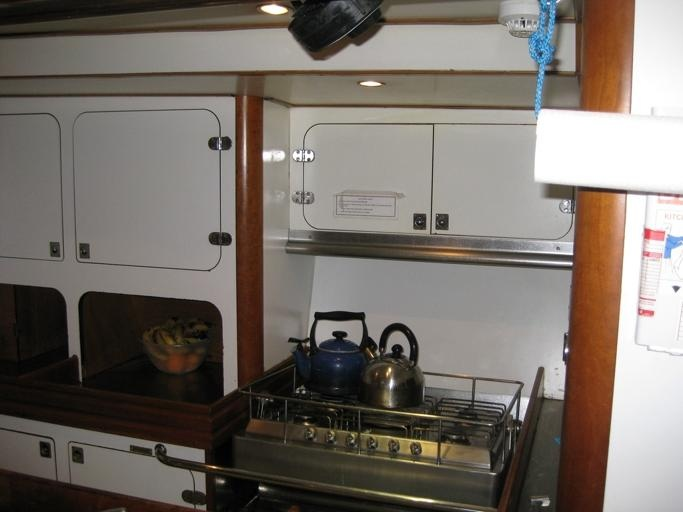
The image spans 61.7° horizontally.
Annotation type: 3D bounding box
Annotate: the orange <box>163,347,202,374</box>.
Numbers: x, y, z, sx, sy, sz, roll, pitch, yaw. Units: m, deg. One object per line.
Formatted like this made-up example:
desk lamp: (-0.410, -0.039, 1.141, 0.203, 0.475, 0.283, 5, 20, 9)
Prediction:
orange: (-0.720, 0.448, 2.553, 0.138, 0.075, 0.130, 0, 0, -40)

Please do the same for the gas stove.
gas stove: (0.155, 0.604, 2.193, 0.993, 0.312, 0.829, 5, 10, 21)

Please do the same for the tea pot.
tea pot: (0.087, 0.383, 2.247, 0.475, 0.296, 0.304, 8, 7, 27)

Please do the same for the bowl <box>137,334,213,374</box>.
bowl: (-0.771, 0.462, 2.658, 0.302, 0.168, 0.311, -1, 3, 0)
